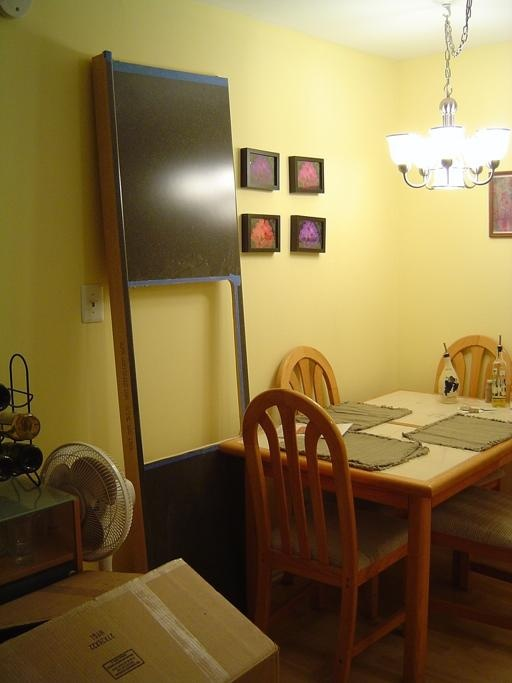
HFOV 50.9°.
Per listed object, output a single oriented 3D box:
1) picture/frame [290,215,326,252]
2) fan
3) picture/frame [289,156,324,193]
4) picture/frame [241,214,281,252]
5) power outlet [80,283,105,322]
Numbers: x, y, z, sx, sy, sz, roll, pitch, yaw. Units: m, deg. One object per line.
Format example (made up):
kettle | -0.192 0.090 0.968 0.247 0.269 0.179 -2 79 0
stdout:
picture/frame | 0.235 -0.497 2.488 0.021 0.136 0.160 2 5 36
fan | -0.377 0.386 1.228 0.149 0.326 0.209 -18 13 -38
picture/frame | 0.240 -0.759 2.474 0.239 0.163 0.037 -10 11 -43
picture/frame | 0.012 -0.454 2.257 0.020 0.127 0.150 2 7 36
power outlet | -0.516 -0.122 1.679 0.013 0.155 0.099 2 5 30
